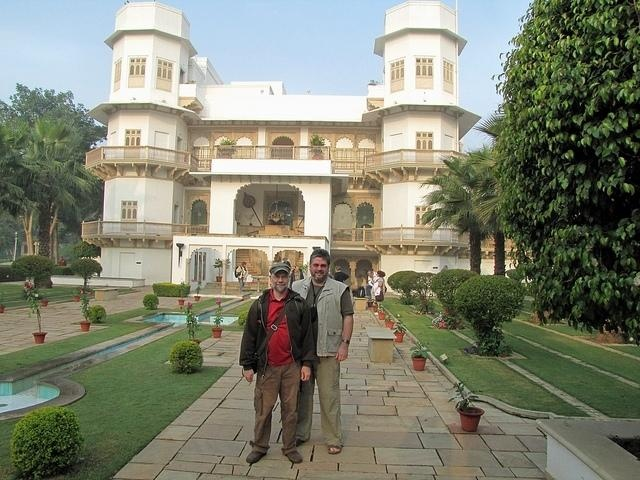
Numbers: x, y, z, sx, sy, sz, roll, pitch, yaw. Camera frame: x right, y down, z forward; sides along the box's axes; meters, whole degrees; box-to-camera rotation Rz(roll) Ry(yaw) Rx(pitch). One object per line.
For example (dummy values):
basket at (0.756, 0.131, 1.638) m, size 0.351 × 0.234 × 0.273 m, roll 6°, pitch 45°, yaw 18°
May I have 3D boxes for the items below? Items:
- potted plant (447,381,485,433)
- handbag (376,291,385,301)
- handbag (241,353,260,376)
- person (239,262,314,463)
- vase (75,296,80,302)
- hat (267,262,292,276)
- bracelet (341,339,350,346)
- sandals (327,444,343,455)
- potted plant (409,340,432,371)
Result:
potted plant at (2.111, 2.330, 6.652) m, size 0.337 × 0.632 × 0.558 m, roll -3°, pitch -3°, yaw 18°
handbag at (2.780, 2.645, 21.690) m, size 0.350 × 0.439 × 0.609 m, roll -3°, pitch -1°, yaw 32°
handbag at (-0.822, 1.480, 5.558) m, size 0.204 × 0.285 × 0.106 m, roll 8°, pitch -5°, yaw -27°
person at (-0.506, 1.433, 5.569) m, size 0.862 × 2.315 × 0.292 m, roll -1°, pitch -3°, yaw -9°
vase at (-10.907, 2.660, 21.075) m, size 0.238 × 0.188 × 0.241 m, roll 0°, pitch -11°, yaw -2°
hat at (-0.460, 0.340, 5.608) m, size 0.200 × 0.156 × 0.305 m, roll -4°, pitch -4°, yaw 44°
bracelet at (0.318, 1.274, 5.826) m, size 0.079 × 0.076 × 0.076 m, roll 6°, pitch -32°, yaw 1°
sandals at (0.186, 2.562, 5.762) m, size 0.187 × 0.106 × 0.144 m, roll -2°, pitch -3°, yaw -7°
potted plant at (2.034, 2.469, 9.923) m, size 0.487 × 0.638 × 0.448 m, roll 2°, pitch -14°, yaw -4°
